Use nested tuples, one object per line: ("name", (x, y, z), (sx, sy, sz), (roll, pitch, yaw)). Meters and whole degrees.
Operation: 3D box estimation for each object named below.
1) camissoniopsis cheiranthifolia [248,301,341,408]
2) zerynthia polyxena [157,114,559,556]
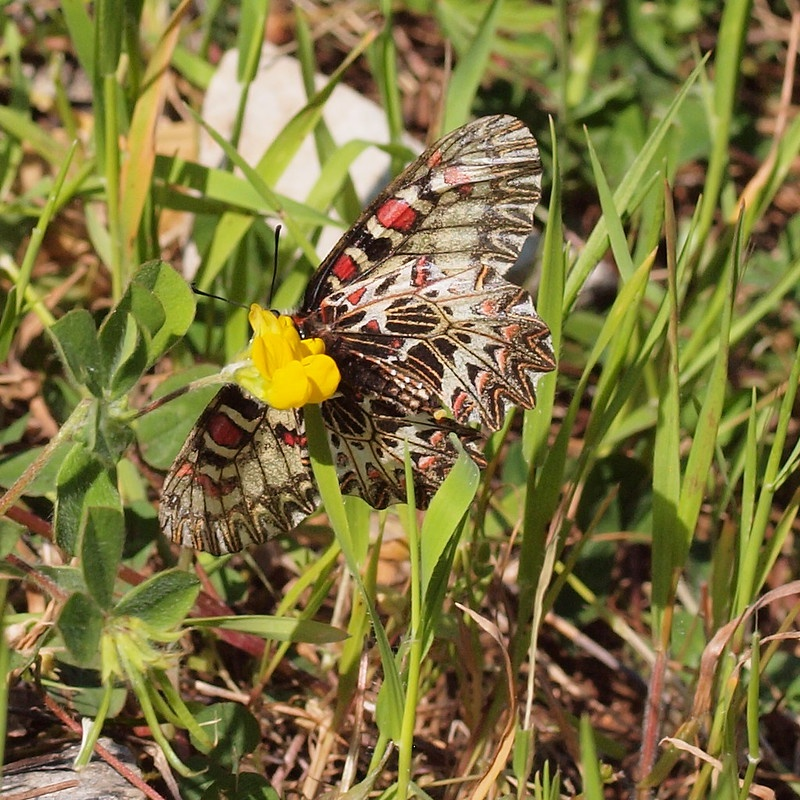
("camissoniopsis cheiranthifolia", (-0.162, -0.040, 1.248), (0.134, 0.150, 0.127), (-7, 40, -24))
("zerynthia polyxena", (-0.013, 0.059, 1.593), (0.412, 0.907, 0.801), (30, 58, 15))
